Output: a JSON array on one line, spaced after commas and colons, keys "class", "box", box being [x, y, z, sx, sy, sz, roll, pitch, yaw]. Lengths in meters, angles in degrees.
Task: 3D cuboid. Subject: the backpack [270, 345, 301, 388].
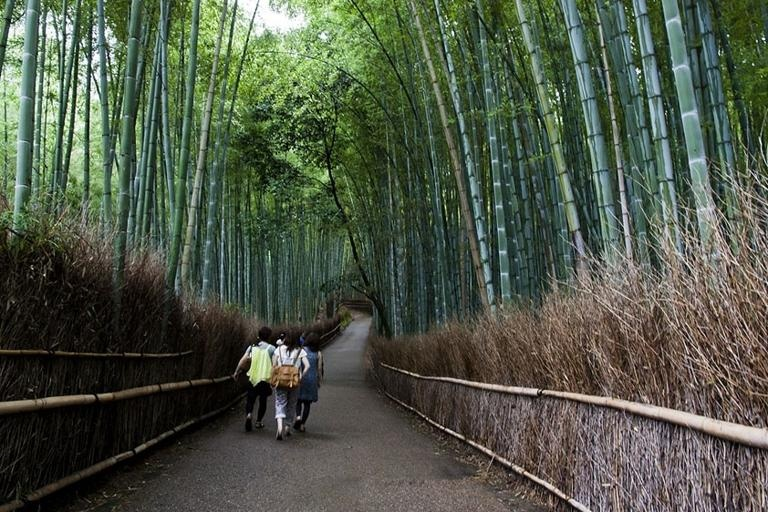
[{"class": "backpack", "box": [-0.920, 1.039, 5.844, 0.246, 0.409, 0.191, 3, -19, -8]}]
